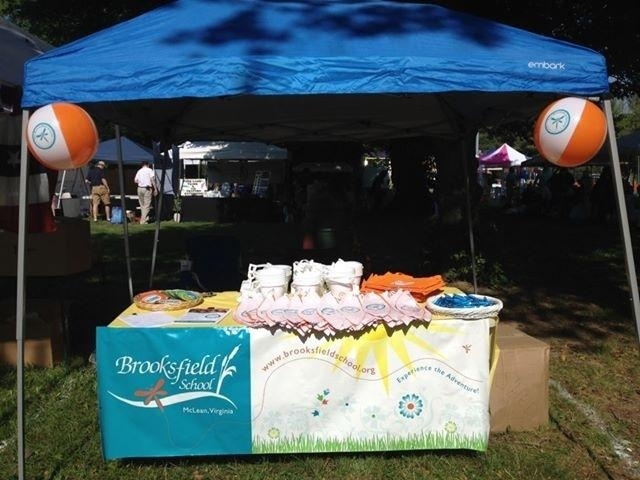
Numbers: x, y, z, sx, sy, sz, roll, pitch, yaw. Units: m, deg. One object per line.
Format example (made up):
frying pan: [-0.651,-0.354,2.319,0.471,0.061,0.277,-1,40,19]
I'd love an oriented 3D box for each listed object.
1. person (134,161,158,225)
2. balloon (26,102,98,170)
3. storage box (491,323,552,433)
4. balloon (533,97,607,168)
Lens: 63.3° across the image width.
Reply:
person: [-5.036,-1.305,15.060,0.525,1.752,1.189,-4,12,-19]
balloon: [-1.897,-0.771,3.819,0.474,0.485,0.280,-6,12,-26]
storage box: [1.664,1.158,4.760,0.565,0.819,1.081,0,9,11]
balloon: [1.863,-0.825,3.988,0.474,0.534,0.608,6,39,27]
